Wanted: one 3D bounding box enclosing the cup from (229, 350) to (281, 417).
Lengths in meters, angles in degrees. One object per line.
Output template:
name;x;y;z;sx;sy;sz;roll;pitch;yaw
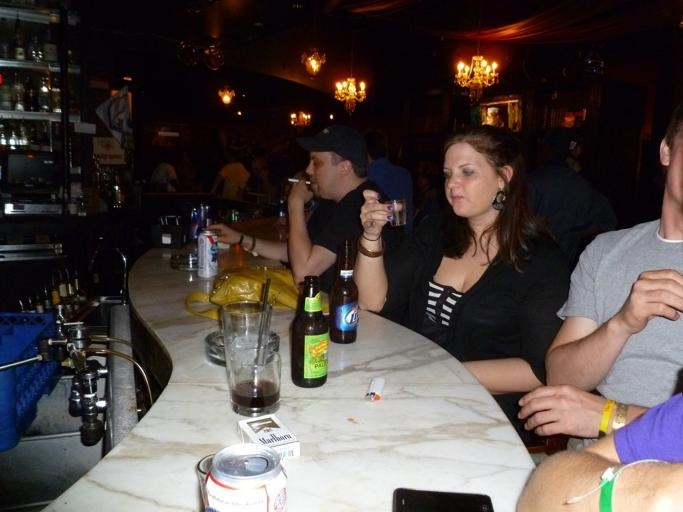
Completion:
cup;-0.266;0.375;1.496;0.165;0.170;0.165;-1;-4;0

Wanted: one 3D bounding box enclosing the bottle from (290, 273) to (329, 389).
bottle;-0.103;0.231;1.583;0.117;0.345;0.149;-1;11;-3

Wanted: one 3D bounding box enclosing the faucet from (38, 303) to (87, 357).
faucet;-0.899;0.260;1.642;0.180;0.159;0.100;-4;5;10

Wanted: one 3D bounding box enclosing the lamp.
lamp;1.248;-3.197;9.186;3.092;0.936;2.776;3;10;17

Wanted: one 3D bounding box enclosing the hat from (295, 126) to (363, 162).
hat;-0.063;-0.657;3.067;0.341;0.157;0.232;11;10;-4

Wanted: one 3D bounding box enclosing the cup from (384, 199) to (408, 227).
cup;0.237;-0.193;2.224;0.112;0.111;0.103;-2;2;0
